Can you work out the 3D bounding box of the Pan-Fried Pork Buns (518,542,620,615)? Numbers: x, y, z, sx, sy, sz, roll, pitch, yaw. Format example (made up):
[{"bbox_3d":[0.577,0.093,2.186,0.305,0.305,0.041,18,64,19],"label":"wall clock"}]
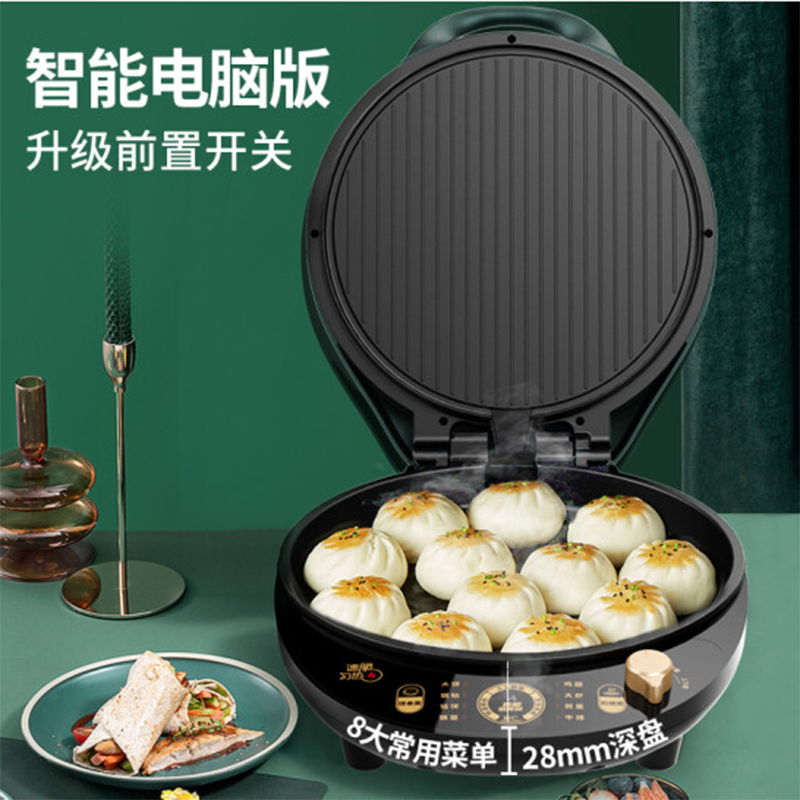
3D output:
[{"bbox_3d":[0.143,0.135,0.650,0.067,0.026,0.067,13,27,32],"label":"Pan-Fried Pork Buns"}]

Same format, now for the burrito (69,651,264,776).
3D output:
[{"bbox_3d":[-0.195,0.237,0.625,0.094,0.035,0.095,7,16,26],"label":"burrito"}]

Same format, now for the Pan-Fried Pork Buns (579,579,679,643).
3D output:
[{"bbox_3d":[0.166,0.155,0.575,0.067,0.025,0.062,-2,13,-12],"label":"Pan-Fried Pork Buns"}]

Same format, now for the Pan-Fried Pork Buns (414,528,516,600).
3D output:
[{"bbox_3d":[0.058,0.126,0.655,0.063,0.043,0.065,1,11,-1],"label":"Pan-Fried Pork Buns"}]

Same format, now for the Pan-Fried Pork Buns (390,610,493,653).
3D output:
[{"bbox_3d":[0.027,0.158,0.528,0.038,0.013,0.038,4,5,-11],"label":"Pan-Fried Pork Buns"}]

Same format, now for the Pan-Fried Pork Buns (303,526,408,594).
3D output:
[{"bbox_3d":[-0.033,0.132,0.669,0.092,0.032,0.094,-13,13,-17],"label":"Pan-Fried Pork Buns"}]

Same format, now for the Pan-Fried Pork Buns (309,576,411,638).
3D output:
[{"bbox_3d":[-0.027,0.156,0.581,0.060,0.027,0.069,12,17,40],"label":"Pan-Fried Pork Buns"}]

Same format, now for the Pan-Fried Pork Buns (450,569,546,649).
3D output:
[{"bbox_3d":[0.074,0.154,0.583,0.055,0.036,0.055,0,12,-6],"label":"Pan-Fried Pork Buns"}]
